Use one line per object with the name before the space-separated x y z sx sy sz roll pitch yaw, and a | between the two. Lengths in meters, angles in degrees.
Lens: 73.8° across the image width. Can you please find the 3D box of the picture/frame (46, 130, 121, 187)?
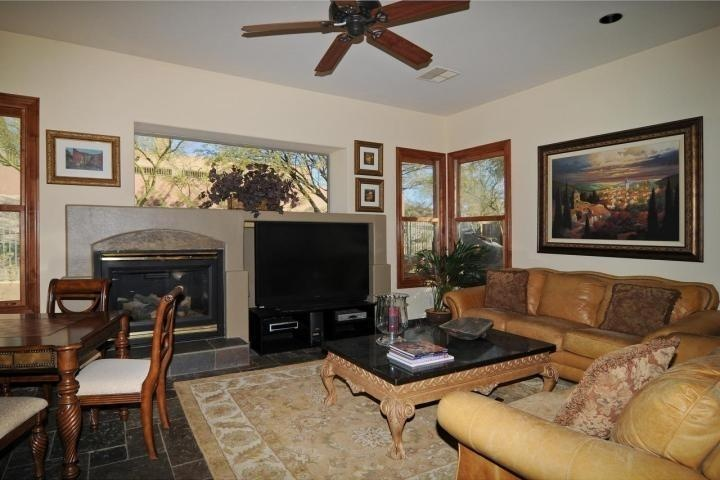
picture/frame | -3.127 -0.900 5.306 0.803 0.656 0.056 0 -3 -28

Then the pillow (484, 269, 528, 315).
pillow | 1.810 0.614 6.127 0.574 0.418 0.484 12 2 -11

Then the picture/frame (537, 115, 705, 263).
picture/frame | 3.077 -0.585 5.534 0.091 1.389 2.113 -1 0 -40

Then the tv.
tv | -0.716 0.306 6.314 1.352 0.807 0.131 0 2 -28

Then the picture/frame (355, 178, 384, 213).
picture/frame | 0.103 -0.644 6.895 0.611 0.523 0.059 1 -1 -29

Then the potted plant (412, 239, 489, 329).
potted plant | 1.399 0.650 7.122 1.181 1.237 1.385 4 -2 -43

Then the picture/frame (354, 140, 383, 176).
picture/frame | 0.087 -1.175 6.883 0.653 0.558 0.045 1 0 -30

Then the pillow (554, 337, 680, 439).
pillow | 1.641 0.874 3.085 0.721 0.642 0.199 -7 30 -26

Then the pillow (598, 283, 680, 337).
pillow | 2.843 0.704 4.885 0.144 0.506 0.599 25 -11 -28
